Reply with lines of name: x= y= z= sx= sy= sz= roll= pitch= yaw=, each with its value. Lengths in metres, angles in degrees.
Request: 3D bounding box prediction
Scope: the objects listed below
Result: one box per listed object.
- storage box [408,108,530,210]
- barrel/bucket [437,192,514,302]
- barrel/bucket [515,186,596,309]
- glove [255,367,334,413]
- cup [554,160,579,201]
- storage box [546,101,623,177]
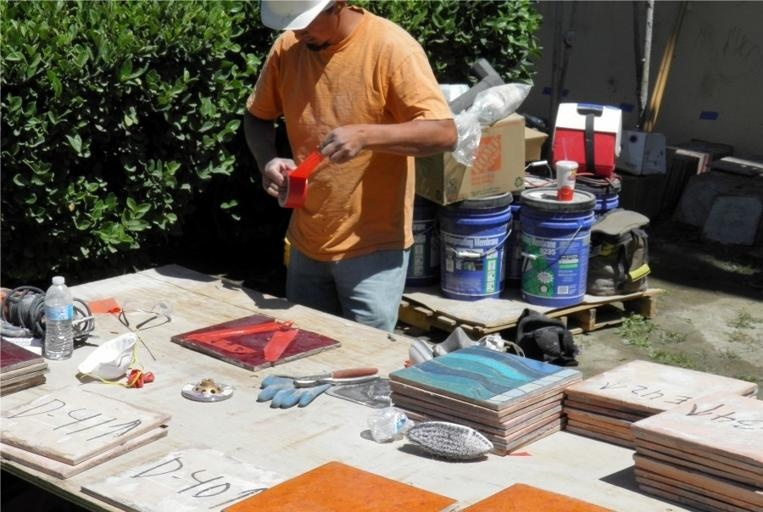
storage box: x=0.743 y=-0.775 z=5.582 sx=0.888 sy=0.460 sz=0.842 roll=-15 pitch=16 yaw=-41
barrel/bucket: x=0.756 y=-0.060 z=5.834 sx=0.563 sy=0.913 sz=0.793 roll=2 pitch=1 yaw=-13
barrel/bucket: x=1.436 y=-0.084 z=5.907 sx=0.777 sy=0.918 sz=0.615 roll=0 pitch=11 yaw=-7
glove: x=-0.406 y=0.566 z=3.076 sx=0.227 sy=0.128 sz=0.399 roll=11 pitch=20 yaw=39
cup: x=1.525 y=-0.579 z=5.593 sx=0.162 sy=0.310 sz=0.230 roll=5 pitch=10 yaw=13
storage box: x=2.024 y=-1.056 z=6.409 sx=0.775 sy=0.640 sz=0.556 roll=8 pitch=15 yaw=22
